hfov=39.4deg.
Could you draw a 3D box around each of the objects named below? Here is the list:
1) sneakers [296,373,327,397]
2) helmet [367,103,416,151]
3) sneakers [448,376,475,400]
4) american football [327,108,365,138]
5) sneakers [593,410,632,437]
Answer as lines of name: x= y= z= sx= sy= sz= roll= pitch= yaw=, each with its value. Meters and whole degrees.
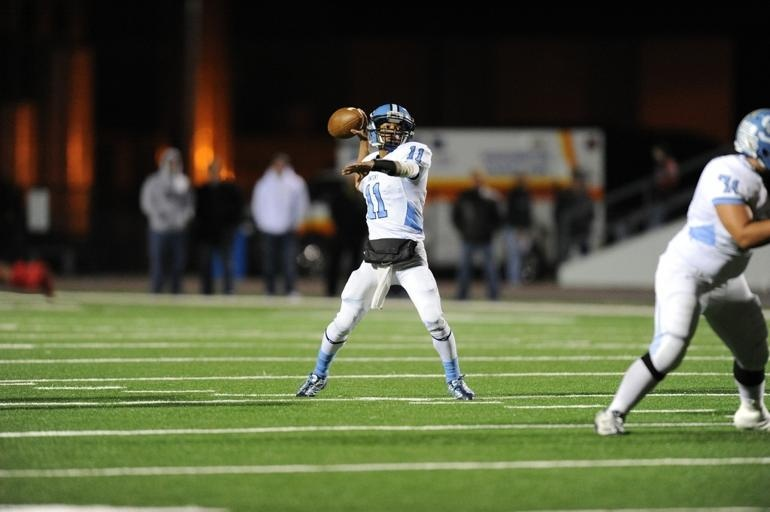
sneakers: x=-0.708 y=1.254 z=10.502 sx=0.239 sy=0.080 sz=0.107 roll=-39 pitch=-9 yaw=-10
helmet: x=0.066 y=-1.213 z=10.390 sx=0.373 sy=0.371 sz=0.468 roll=1 pitch=-3 yaw=-7
sneakers: x=0.728 y=1.255 z=10.292 sx=0.154 sy=0.142 sz=0.313 roll=-10 pitch=5 yaw=-22
american football: x=-0.362 y=-1.271 z=10.553 sx=0.336 sy=0.203 sz=0.268 roll=-11 pitch=43 yaw=7
sneakers: x=1.865 y=1.345 z=8.814 sx=0.183 sy=0.139 sz=0.245 roll=13 pitch=3 yaw=15
